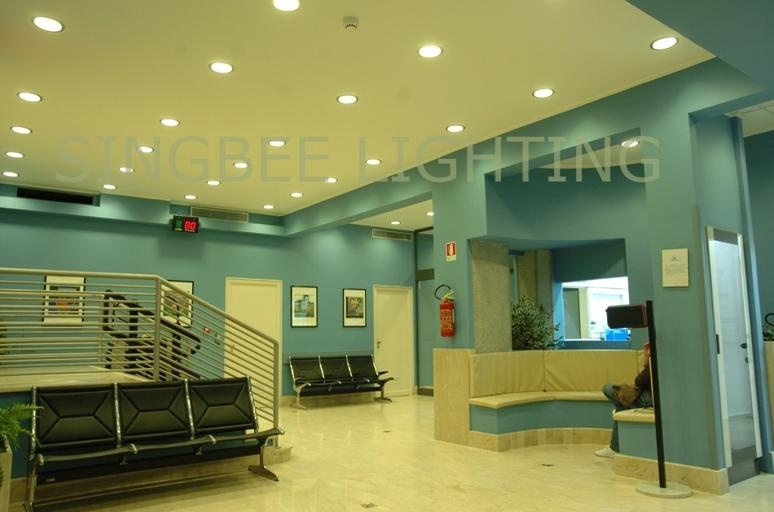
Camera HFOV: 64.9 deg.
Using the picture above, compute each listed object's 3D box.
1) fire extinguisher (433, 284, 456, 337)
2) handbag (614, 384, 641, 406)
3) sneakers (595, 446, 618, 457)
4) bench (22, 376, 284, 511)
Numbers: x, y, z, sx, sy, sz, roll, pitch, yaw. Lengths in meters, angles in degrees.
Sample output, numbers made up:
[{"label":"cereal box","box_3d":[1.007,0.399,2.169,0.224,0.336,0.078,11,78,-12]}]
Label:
[{"label":"fire extinguisher","box_3d":[0.897,0.844,9.481,0.224,0.809,0.418,-2,1,-24]},{"label":"handbag","box_3d":[3.176,1.839,8.106,0.330,0.298,0.136,19,6,23]},{"label":"sneakers","box_3d":[3.045,2.705,8.445,0.274,0.113,0.142,-2,-9,32]},{"label":"bench","box_3d":[-2.926,2.182,7.432,2.616,1.374,0.722,-2,1,-28]}]
